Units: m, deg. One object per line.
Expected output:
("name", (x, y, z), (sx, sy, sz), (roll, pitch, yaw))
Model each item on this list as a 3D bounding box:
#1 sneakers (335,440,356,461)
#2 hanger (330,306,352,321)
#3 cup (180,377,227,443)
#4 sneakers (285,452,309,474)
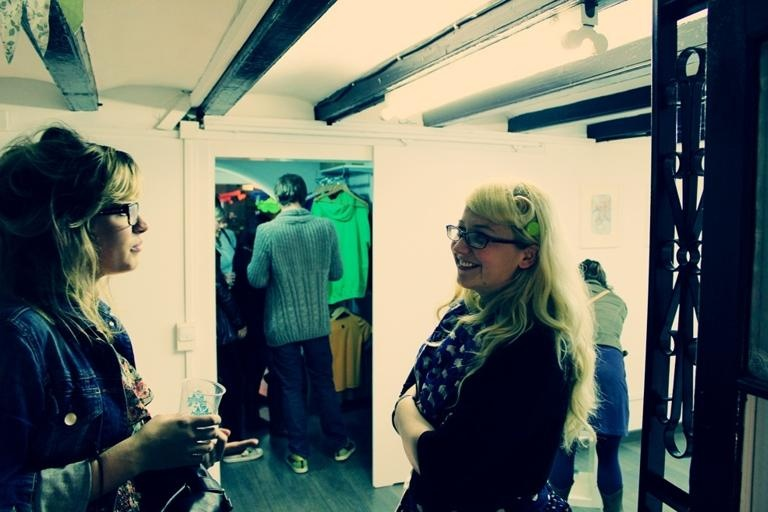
("sneakers", (-0.257, 1.299, 4.326), (0.070, 0.066, 0.177), (1, 3, 21))
("hanger", (-0.305, 0.414, 4.661), (0.081, 0.114, 0.118), (-5, -13, 5))
("cup", (-0.605, 0.477, 2.086), (0.131, 0.105, 0.135), (16, -2, 1))
("sneakers", (-0.555, 1.295, 4.129), (0.140, 0.125, 0.160), (0, 11, -8))
